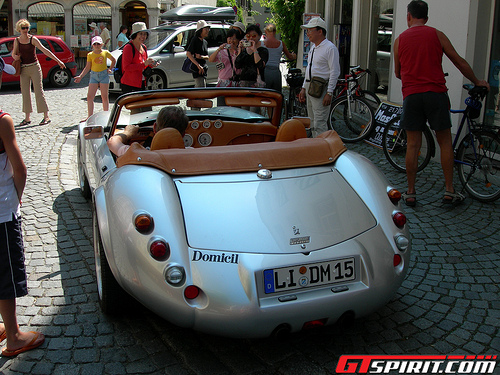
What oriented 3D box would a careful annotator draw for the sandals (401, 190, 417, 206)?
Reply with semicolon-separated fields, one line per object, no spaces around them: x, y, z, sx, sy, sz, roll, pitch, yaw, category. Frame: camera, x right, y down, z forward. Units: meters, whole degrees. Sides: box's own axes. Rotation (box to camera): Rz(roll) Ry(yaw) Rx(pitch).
2.322;0.163;5.655;0.096;0.155;0.323;1;12;7;sandals

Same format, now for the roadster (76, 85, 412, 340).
0.036;0.385;3.128;2.492;1.311;1.448;-8;21;-11;roadster

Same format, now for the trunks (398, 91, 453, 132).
2.586;-0.933;5.770;0.721;0.734;0.463;2;4;17;trunks

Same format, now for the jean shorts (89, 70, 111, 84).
-4.081;-3.031;10.649;0.510;0.551;0.386;-3;1;-29;jean shorts

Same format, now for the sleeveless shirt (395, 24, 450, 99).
2.473;-1.816;5.567;0.706;0.962;0.367;8;21;29;sleeveless shirt

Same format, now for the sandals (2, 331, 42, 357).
-1.716;1.196;2.951;0.250;0.086;0.139;-23;33;-40;sandals

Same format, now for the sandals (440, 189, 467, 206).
2.944;0.128;5.609;0.360;0.213;0.158;-12;19;-32;sandals

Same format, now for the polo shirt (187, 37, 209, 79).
-1.442;-3.704;10.934;0.594;1.125;0.422;-11;20;-21;polo shirt

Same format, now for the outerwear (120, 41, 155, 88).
-2.727;-2.908;9.204;0.710;1.063;0.465;-15;22;-31;outerwear

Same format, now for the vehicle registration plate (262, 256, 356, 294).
0.404;0.593;2.646;0.651;0.177;0.061;-9;20;-13;vehicle registration plate

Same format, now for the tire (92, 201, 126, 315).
-1.104;0.560;3.088;0.180;0.656;0.655;-2;49;-15;tire

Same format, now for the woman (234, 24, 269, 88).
0.036;-2.917;8.612;0.726;1.320;0.632;-7;19;-11;woman

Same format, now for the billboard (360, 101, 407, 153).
2.683;-1.198;7.763;0.080;1.265;0.870;19;7;-40;billboard

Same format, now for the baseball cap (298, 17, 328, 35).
1.266;-3.114;7.669;0.520;0.342;0.392;2;28;-4;baseball cap
